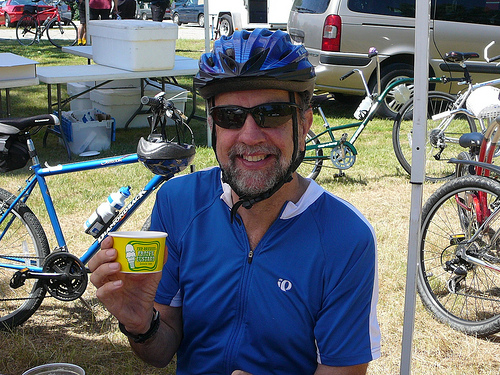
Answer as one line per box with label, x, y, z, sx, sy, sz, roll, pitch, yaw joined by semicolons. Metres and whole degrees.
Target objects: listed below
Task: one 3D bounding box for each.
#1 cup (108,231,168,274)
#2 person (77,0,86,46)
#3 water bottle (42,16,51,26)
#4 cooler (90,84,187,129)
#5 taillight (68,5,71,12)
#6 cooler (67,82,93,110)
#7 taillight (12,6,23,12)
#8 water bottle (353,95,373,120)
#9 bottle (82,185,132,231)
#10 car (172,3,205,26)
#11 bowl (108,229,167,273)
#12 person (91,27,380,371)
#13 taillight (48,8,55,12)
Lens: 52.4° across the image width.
cup;-0.478;0.287;2.273;0.177;0.135;0.197;0;-6;2
person;-4.978;-4.795;14.985;0.249;1.336;2.838;-5;21;-17
water bottle;-7.406;-6.070;18.546;0.249;0.327;0.368;-7;21;-22
cooler;-2.061;-1.531;9.406;1.834;1.009;1.269;-3;13;-26
taillight;-9.265;-9.151;26.080;0.080;0.247;0.754;-4;21;-15
cooler;-3.136;-1.652;9.371;0.294;0.563;0.758;-10;22;-29
taillight;-10.449;-8.041;22.912;0.324;0.145;0.280;-1;10;3
water bottle;1.613;-1.111;7.180;0.229;0.351;0.160;5;18;15
bottle;-1.364;0.212;4.819;0.133;0.512;0.149;40;1;28
car;-3.483;-9.875;29.103;1.385;1.248;2.343;-5;21;-16
bowl;-0.471;0.280;2.295;0.172;0.127;0.195;1;-6;4
person;-0.024;0.120;2.405;1.254;1.623;0.621;1;17;0
taillight;-7.431;-6.651;19.075;0.123;0.113;0.434;-12;24;-31
